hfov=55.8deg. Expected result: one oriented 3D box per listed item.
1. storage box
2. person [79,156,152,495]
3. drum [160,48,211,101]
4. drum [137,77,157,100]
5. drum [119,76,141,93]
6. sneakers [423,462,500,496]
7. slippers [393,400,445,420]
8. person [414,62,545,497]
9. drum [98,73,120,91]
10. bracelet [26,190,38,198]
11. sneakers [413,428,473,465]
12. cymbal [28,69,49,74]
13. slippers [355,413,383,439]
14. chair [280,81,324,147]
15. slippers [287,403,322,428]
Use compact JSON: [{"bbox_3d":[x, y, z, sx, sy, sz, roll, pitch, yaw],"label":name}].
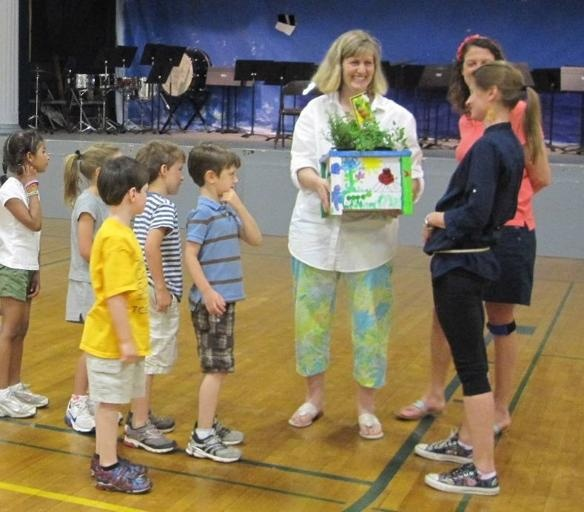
[{"bbox_3d":[0.423,-0.322,2.394,0.447,0.267,0.437,3,9,22],"label":"storage box"},{"bbox_3d":[-0.641,0.242,1.975,0.244,1.170,0.361,-1,12,-15],"label":"person"},{"bbox_3d":[-2.250,-3.739,11.388,1.041,0.976,0.593,21,19,28],"label":"drum"},{"bbox_3d":[-2.910,-3.325,11.069,0.453,0.450,0.428,-2,17,-15],"label":"drum"},{"bbox_3d":[-3.270,-3.373,10.996,0.337,0.182,0.314,5,25,-2],"label":"drum"},{"bbox_3d":[0.621,0.818,2.055,0.289,0.111,0.103,2,-3,9],"label":"sneakers"},{"bbox_3d":[0.605,0.722,2.665,0.240,0.068,0.088,-3,3,-27],"label":"slippers"},{"bbox_3d":[0.661,0.073,2.070,0.355,1.540,0.468,5,12,18],"label":"person"},{"bbox_3d":[-3.703,-3.453,11.041,0.479,0.324,0.454,4,23,-2],"label":"drum"},{"bbox_3d":[-1.234,-0.293,2.599,0.042,0.031,0.119,-2,11,-20],"label":"bracelet"},{"bbox_3d":[0.613,0.792,2.308,0.266,0.108,0.091,4,7,15],"label":"sneakers"},{"bbox_3d":[-5.221,-3.774,11.299,0.285,0.093,0.271,0,1,3],"label":"cymbal"},{"bbox_3d":[0.350,0.762,2.450,0.073,0.046,0.126,-1,-2,0],"label":"slippers"},{"bbox_3d":[0.051,-2.383,9.504,0.733,0.855,0.789,16,13,42],"label":"chair"},{"bbox_3d":[0.051,0.749,2.580,0.074,0.054,0.149,0,-3,29],"label":"slippers"}]
